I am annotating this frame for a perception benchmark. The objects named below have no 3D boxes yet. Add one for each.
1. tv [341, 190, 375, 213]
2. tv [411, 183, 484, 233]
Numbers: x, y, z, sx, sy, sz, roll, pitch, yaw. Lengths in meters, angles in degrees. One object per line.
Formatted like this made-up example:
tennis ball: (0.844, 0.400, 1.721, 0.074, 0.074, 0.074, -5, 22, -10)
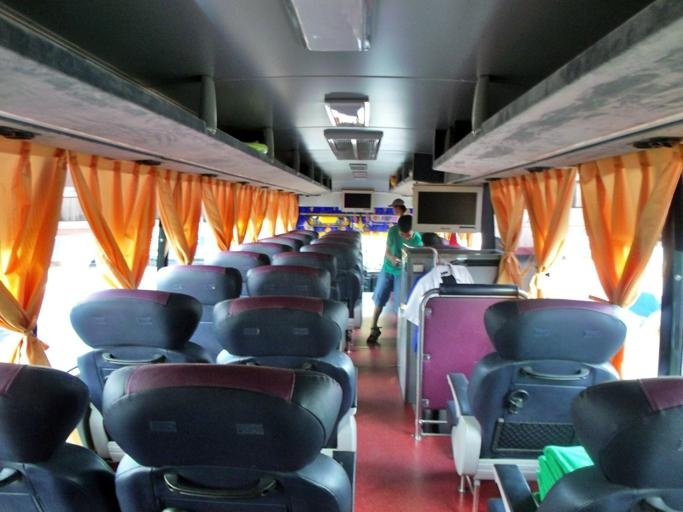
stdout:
tv: (0.464, -1.476, 15.061, 1.199, 0.731, 0.598, 0, -4, 1)
tv: (1.431, -0.639, 6.696, 0.776, 0.487, 0.101, 1, 1, 4)
